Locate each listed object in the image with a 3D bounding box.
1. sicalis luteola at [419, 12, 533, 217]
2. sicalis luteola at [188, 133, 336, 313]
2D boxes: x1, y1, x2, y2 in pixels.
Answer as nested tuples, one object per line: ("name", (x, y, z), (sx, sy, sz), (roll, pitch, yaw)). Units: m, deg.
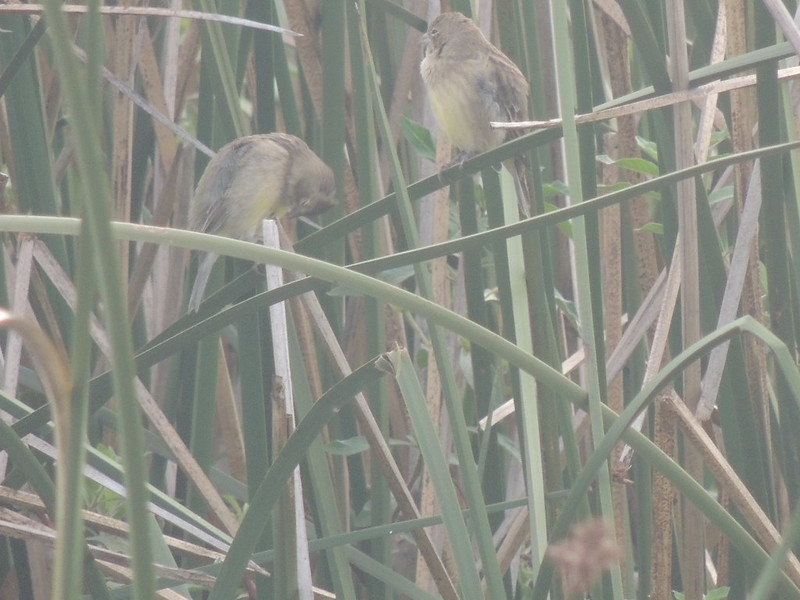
("sicalis luteola", (0.172, -0.354, 3.228), (0.276, 0.410, 0.184), (16, -29, -19))
("sicalis luteola", (-0.284, -0.138, 3.237), (0.304, 0.409, 0.198), (6, -9, 12))
